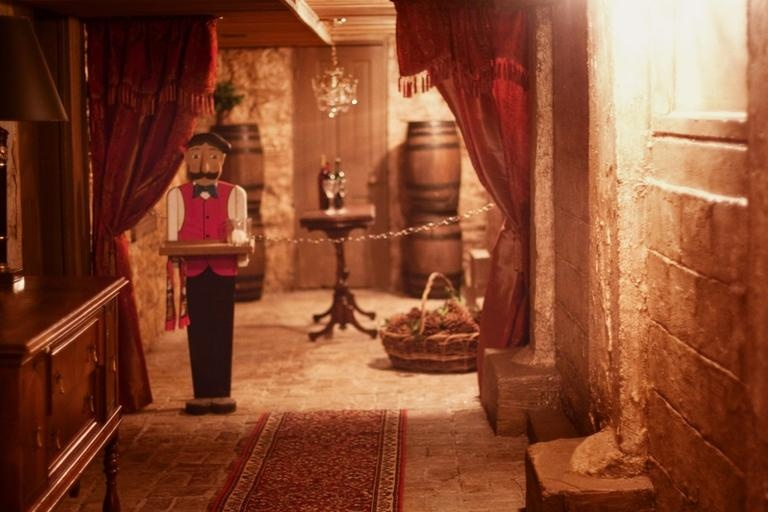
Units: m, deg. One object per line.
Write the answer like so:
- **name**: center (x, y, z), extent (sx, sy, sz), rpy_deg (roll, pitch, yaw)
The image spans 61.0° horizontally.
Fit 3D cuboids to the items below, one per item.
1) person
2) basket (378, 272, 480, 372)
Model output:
- **person**: center (-1.262, 0.140, 4.679), extent (0.610, 2.002, 0.464), rpy_deg (-4, 12, -13)
- **basket**: center (0.463, 0.546, 5.847), extent (0.918, 0.822, 0.896), rpy_deg (-3, 8, 0)
